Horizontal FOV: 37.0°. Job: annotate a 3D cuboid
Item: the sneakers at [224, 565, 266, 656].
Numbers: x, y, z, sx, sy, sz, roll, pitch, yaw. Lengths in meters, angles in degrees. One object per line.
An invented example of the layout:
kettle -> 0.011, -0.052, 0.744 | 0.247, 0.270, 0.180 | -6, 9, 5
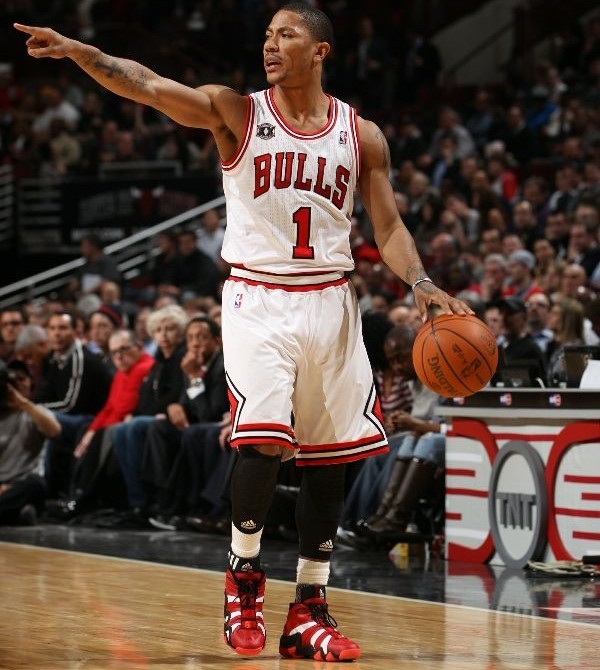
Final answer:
sneakers -> -0.165, 0.795, 2.584 | 0.107, 0.116, 0.283 | -1, 21, -10

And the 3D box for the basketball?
basketball -> 0.531, 0.046, 2.865 | 0.283, 0.286, 0.261 | -6, 5, 17

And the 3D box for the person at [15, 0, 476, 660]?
person -> -0.048, -0.061, 2.687 | 1.072, 2.013, 0.478 | 4, -4, -31

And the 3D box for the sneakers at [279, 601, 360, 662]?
sneakers -> 0.052, 0.877, 2.617 | 0.215, 0.137, 0.301 | 2, -4, -4

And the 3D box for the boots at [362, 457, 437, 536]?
boots -> 0.596, 1.023, 5.286 | 0.255, 0.515, 0.609 | -9, -20, 43
